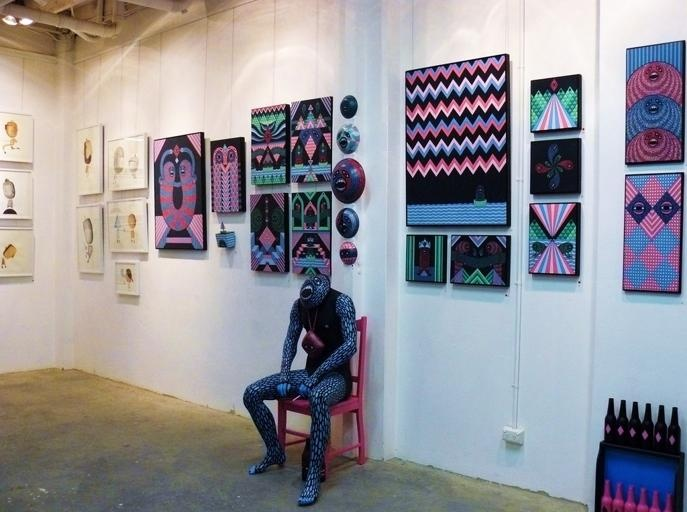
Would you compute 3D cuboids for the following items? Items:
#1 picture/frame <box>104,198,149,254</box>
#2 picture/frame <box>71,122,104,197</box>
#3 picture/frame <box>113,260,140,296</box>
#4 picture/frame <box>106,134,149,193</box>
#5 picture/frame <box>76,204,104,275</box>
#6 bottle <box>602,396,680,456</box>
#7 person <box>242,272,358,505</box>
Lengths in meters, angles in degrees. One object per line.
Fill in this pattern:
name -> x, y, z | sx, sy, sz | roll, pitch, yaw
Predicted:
picture/frame -> -2.768, -0.382, 6.956 | 0.069, 0.606, 0.645 | 0, 3, 24
picture/frame -> -3.436, -1.319, 7.449 | 0.128, 1.435, 0.927 | 3, -3, -42
picture/frame -> -2.697, 0.281, 6.901 | 0.401, 0.401, 0.062 | 1, 3, 30
picture/frame -> -2.704, -1.166, 6.943 | 0.643, 0.651, 0.082 | 4, 2, 23
picture/frame -> -3.405, -0.227, 7.444 | 0.144, 1.244, 0.820 | 3, -4, -45
bottle -> 1.985, 1.131, 3.698 | 0.438, 0.289, 0.167 | 2, 4, 27
person -> -0.298, 0.963, 4.477 | 0.738, 1.587, 0.811 | 2, 4, 36
